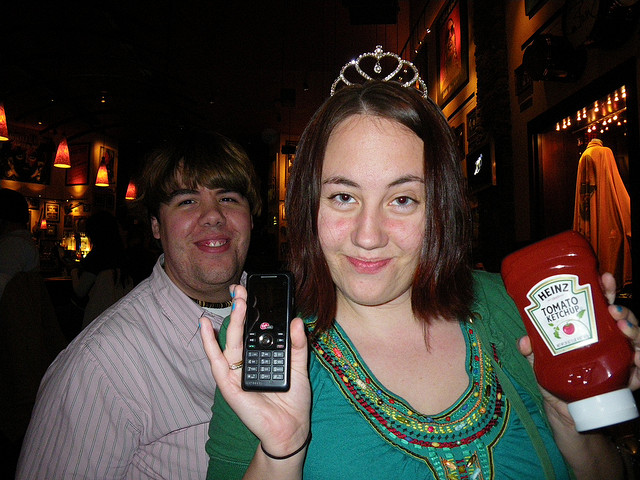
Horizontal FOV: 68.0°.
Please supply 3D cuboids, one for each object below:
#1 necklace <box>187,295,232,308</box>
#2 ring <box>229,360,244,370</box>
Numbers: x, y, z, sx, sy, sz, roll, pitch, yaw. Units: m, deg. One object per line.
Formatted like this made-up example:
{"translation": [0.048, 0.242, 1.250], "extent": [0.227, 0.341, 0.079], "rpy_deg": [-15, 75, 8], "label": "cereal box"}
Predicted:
{"translation": [-0.552, 0.310, 2.383], "extent": [0.226, 0.071, 0.042], "rpy_deg": [0, -6, -40], "label": "necklace"}
{"translation": [-0.283, 0.418, 1.588], "extent": [0.045, 0.012, 0.011], "rpy_deg": [-29, 16, -10], "label": "ring"}
